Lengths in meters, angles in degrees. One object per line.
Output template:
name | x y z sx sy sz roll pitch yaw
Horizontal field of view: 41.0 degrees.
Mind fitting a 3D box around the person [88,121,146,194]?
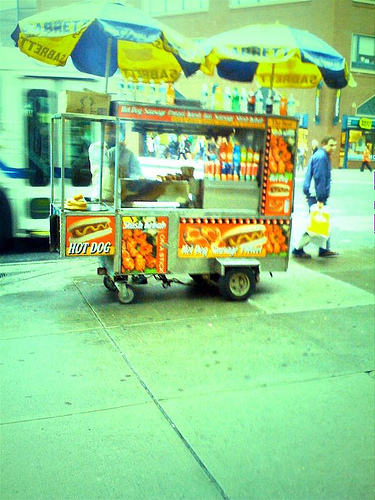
person | -0.791 -1.067 5.884 0.591 0.872 1.024 -3 11 -21

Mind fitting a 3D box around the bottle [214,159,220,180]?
bottle | 0.355 -0.974 6.098 0.072 0.245 0.080 2 11 2

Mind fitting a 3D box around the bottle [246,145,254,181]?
bottle | 0.760 -1.040 6.154 0.086 0.383 0.092 1 11 0

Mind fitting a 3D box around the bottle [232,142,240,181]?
bottle | 0.596 -1.058 6.134 0.087 0.400 0.109 2 11 1

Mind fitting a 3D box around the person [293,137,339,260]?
person | 2.119 -0.874 8.446 0.808 1.971 0.726 2 8 25

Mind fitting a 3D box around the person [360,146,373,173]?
person | 10.476 -5.243 29.295 0.562 1.423 2.486 5 11 18

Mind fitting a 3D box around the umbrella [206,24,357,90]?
umbrella | 1.469 -2.756 7.505 1.479 0.456 1.442 0 2 7

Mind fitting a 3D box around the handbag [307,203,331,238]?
handbag | 2.073 -0.455 7.921 0.403 0.475 0.123 18 18 33
